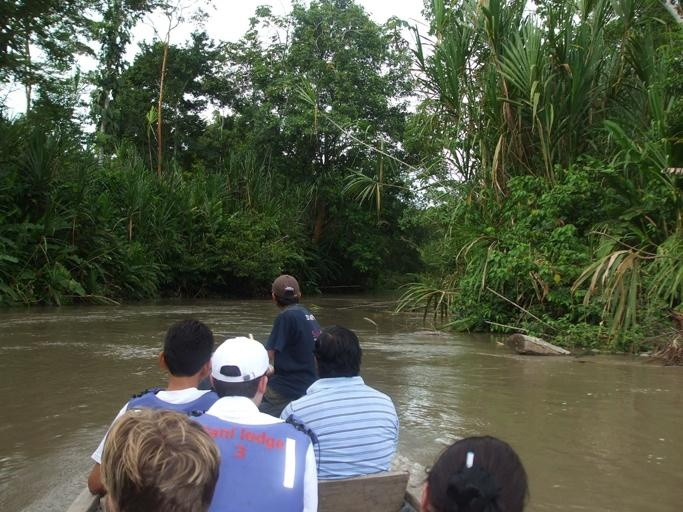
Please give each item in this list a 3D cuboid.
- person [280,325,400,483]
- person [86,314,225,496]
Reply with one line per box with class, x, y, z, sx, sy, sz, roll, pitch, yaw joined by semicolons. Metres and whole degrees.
person;-0.005;0.911;3.648;0.609;1.095;0.755;-2;19;-8
person;-1.321;0.932;3.841;0.742;1.549;0.522;7;19;-7
